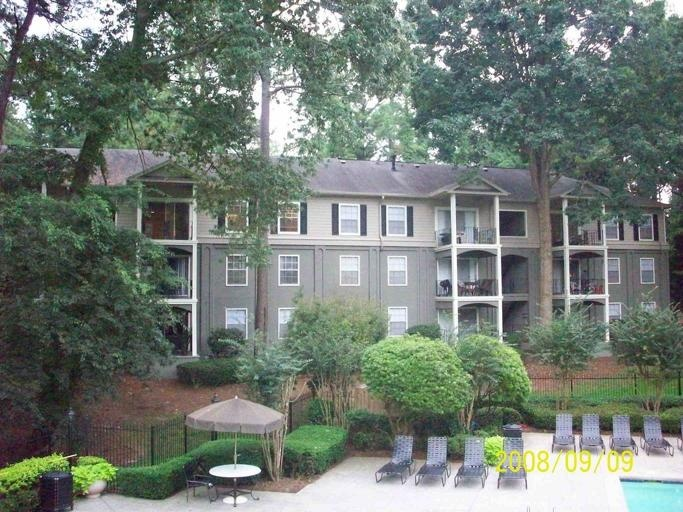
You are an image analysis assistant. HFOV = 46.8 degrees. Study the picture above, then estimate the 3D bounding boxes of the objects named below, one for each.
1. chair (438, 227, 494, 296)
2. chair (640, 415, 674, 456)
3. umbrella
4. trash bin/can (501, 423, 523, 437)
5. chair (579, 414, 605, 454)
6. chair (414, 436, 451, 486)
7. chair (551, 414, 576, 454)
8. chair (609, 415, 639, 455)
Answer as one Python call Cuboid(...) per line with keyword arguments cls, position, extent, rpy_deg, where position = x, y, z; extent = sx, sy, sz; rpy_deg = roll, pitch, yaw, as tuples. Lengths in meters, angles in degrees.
Cuboid(cls="chair", position=(7.696, 0.216, 47.375), extent=(2.913, 4.605, 2.125), rpy_deg=(0, -3, -19))
Cuboid(cls="chair", position=(12.522, 7.236, 31.304), extent=(0.792, 1.255, 1.844), rpy_deg=(-3, 8, 14))
Cuboid(cls="umbrella", position=(-3.569, 6.711, 27.488), extent=(3.061, 3.672, 1.962), rpy_deg=(-1, -6, 4))
Cuboid(cls="trash bin/can", position=(6.820, 6.914, 31.340), extent=(0.502, 0.336, 0.512), rpy_deg=(-6, -7, 41))
Cuboid(cls="chair", position=(10.014, 7.304, 31.500), extent=(0.898, 1.078, 1.881), rpy_deg=(-3, 21, 20))
Cuboid(cls="chair", position=(3.407, 7.531, 29.184), extent=(1.251, 1.584, 1.542), rpy_deg=(-1, -7, 7))
Cuboid(cls="chair", position=(8.990, 7.083, 31.585), extent=(0.864, 1.150, 1.671), rpy_deg=(-1, 4, 16))
Cuboid(cls="chair", position=(11.226, 7.473, 31.466), extent=(0.738, 1.159, 1.826), rpy_deg=(-5, 38, 25))
